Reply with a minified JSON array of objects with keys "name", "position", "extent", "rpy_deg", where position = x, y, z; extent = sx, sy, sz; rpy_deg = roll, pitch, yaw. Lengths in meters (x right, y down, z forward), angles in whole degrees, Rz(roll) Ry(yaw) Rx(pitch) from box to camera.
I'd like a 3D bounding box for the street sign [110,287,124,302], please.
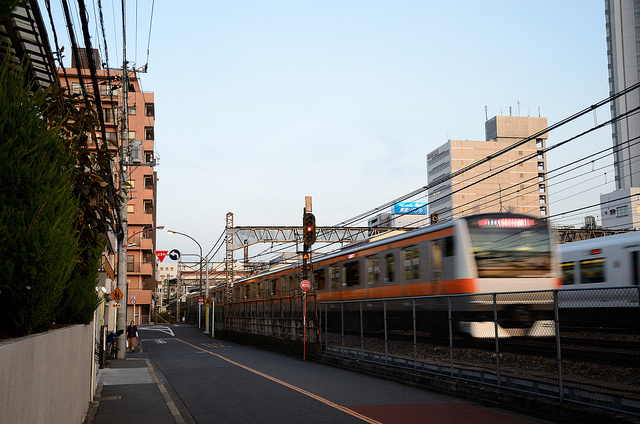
[{"name":"street sign","position":[-9.318,3.800,28.973],"extent":[0.509,0.531,0.649],"rpy_deg":[0,-12,-9]}]
